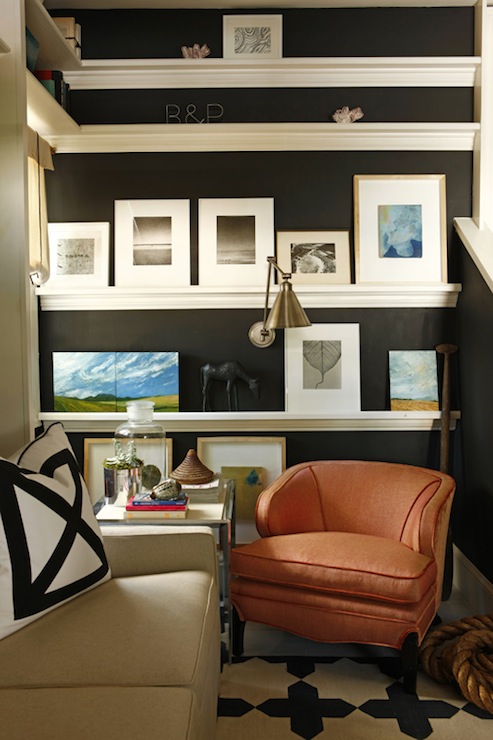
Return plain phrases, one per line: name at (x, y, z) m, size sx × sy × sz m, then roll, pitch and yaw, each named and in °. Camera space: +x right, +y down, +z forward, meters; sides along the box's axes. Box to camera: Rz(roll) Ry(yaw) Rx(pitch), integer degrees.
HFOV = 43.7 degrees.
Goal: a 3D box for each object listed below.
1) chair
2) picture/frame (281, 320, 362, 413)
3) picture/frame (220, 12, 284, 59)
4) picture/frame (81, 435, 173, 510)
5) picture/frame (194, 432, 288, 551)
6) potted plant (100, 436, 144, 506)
chair at (0.405, 0.767, 2.469) m, size 0.773 × 0.727 × 0.762 m, roll -1°, pitch -5°, yaw 22°
picture/frame at (0.367, -0.034, 3.009) m, size 0.353 × 0.462 × 0.022 m, roll 0°, pitch -26°, yaw 6°
picture/frame at (0.026, -1.581, 2.908) m, size 0.212 × 0.168 × 0.017 m, roll 0°, pitch 0°, yaw 0°
picture/frame at (-0.481, 0.425, 2.536) m, size 0.327 × 0.263 × 0.024 m, roll -1°, pitch -8°, yaw -1°
picture/frame at (-0.013, 0.525, 2.662) m, size 0.484 × 0.654 × 0.028 m, roll -1°, pitch 1°, yaw 5°
potted plant at (-0.473, 0.428, 2.424) m, size 0.123 × 0.155 × 0.128 m, roll 11°, pitch -11°, yaw -9°
